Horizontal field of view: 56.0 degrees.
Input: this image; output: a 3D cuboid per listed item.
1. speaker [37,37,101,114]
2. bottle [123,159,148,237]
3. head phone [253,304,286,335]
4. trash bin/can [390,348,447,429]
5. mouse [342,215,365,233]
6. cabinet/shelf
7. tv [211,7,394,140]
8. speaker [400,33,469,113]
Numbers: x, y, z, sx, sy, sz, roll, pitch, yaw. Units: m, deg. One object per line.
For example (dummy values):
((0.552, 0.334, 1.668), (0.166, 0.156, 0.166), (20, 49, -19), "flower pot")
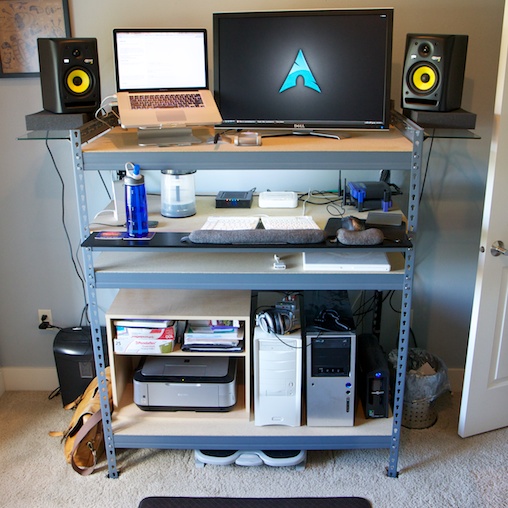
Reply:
((-0.716, -0.695, 1.858), (0.240, 0.371, 0.185), (-5, 17, -20), "speaker")
((-0.450, -0.222, 1.805), (0.095, 0.279, 0.195), (-7, 20, -16), "bottle")
((0.063, 0.266, 1.891), (0.086, 0.109, 0.040), (2, 27, 46), "head phone")
((0.851, 0.681, 2.408), (0.286, 0.335, 0.356), (-1, 19, 1), "trash bin/can")
((0.373, -0.119, 1.795), (0.083, 0.052, 0.054), (23, 35, 11), "mouse")
((-0.024, 0.167, 2.027), (1.305, 1.452, 0.489), (-1, 22, 0), "cabinet/shelf")
((0.193, -0.702, 1.846), (0.500, 0.398, 0.018), (3, 20, 10), "tv")
((0.708, -0.716, 1.887), (0.230, 0.290, 0.108), (5, 20, 19), "speaker")
